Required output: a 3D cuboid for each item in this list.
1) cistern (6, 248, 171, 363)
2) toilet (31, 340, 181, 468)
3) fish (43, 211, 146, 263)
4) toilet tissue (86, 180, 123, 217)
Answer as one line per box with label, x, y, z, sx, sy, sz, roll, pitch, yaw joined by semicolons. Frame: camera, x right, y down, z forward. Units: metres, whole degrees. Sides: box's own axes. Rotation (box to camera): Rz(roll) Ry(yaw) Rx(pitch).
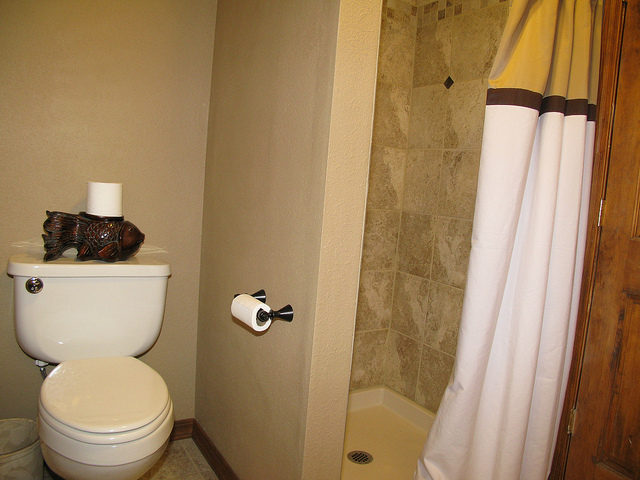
cistern;-1.010;0.309;2.204;0.674;0.501;0.453;2;3;-24
toilet;-0.923;0.780;2.101;0.534;0.392;0.709;8;7;-33
fish;-1.023;-0.001;2.276;0.406;0.261;0.224;2;10;-31
toilet tissue;-0.948;-0.177;2.234;0.151;0.163;0.140;0;1;6
